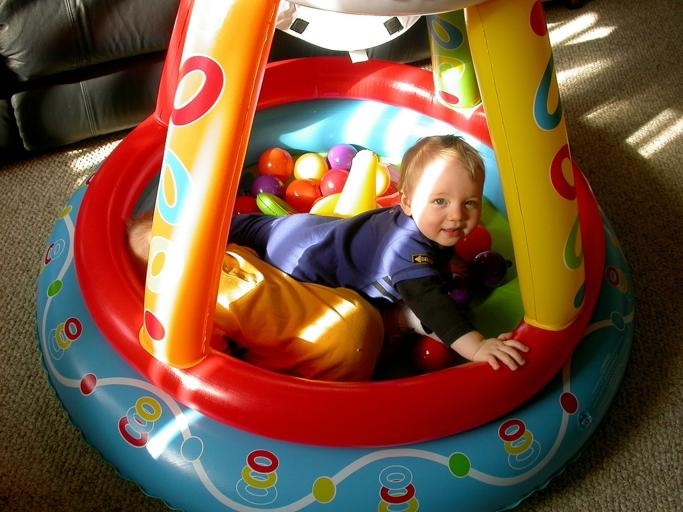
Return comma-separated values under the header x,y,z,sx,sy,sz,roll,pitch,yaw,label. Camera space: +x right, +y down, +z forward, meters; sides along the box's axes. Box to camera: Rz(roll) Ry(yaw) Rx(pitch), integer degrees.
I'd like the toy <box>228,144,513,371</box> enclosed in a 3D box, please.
x,y,z,sx,sy,sz,roll,pitch,yaw,label
0.045,-0.038,1.135,0.523,0.304,0.324,11,32,9,toy
